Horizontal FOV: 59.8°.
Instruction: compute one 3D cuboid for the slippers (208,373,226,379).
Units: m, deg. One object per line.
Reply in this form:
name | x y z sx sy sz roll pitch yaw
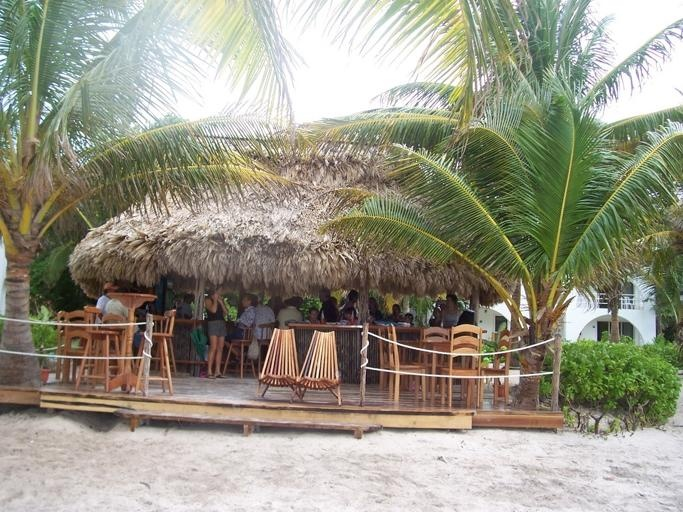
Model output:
slippers | -2.766 2.632 13.085 0.362 0.117 0.136 -5 -11 33
